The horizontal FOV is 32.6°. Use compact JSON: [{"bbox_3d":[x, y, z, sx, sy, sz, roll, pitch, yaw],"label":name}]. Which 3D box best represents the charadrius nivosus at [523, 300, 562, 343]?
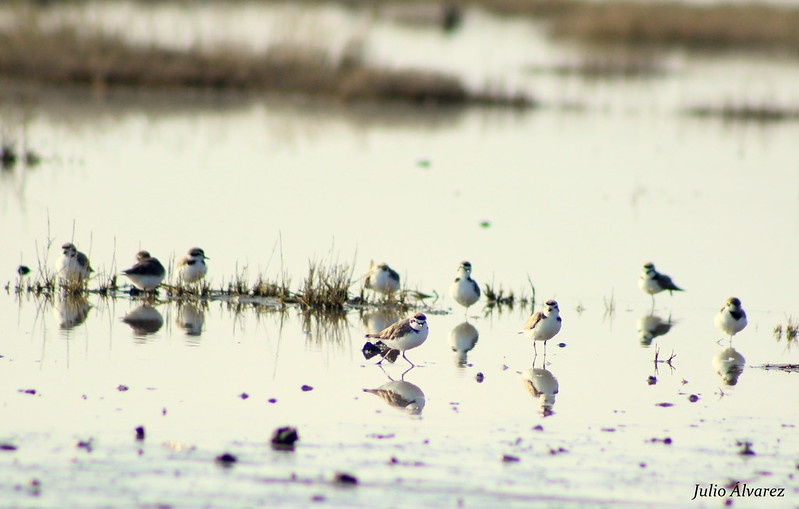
[{"bbox_3d":[4.612,2.158,44.037,0.606,1.165,1.134,9,-11,-44],"label":"charadrius nivosus"}]
